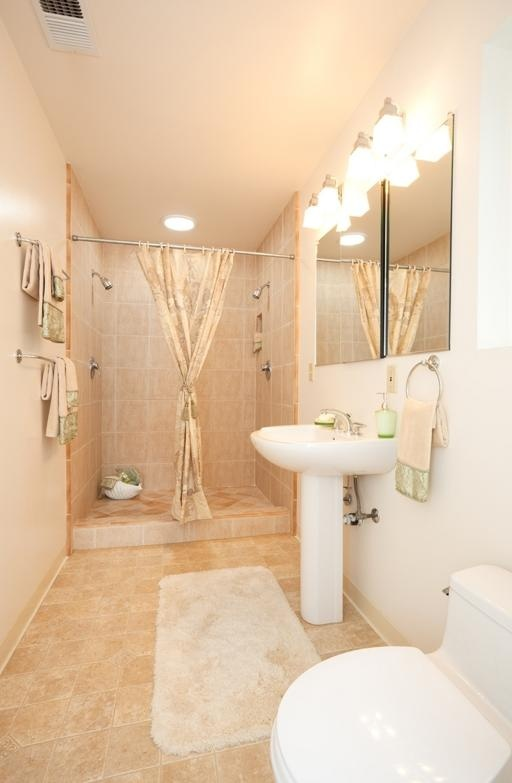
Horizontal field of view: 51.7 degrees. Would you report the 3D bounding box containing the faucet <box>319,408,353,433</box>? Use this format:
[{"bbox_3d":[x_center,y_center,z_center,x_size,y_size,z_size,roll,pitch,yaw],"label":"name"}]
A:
[{"bbox_3d":[0.337,0.124,2.198,0.056,0.106,0.234,-1,1,-14],"label":"faucet"}]

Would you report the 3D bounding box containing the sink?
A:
[{"bbox_3d":[0.224,0.233,2.049,0.446,0.179,0.629,-1,4,-16],"label":"sink"}]

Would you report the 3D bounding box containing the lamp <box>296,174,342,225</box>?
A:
[{"bbox_3d":[0.317,-0.955,2.595,0.098,0.234,0.308,-6,27,-8],"label":"lamp"}]

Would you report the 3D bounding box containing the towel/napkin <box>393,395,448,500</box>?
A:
[{"bbox_3d":[0.517,0.177,1.652,0.083,0.307,0.205,-1,4,-10],"label":"towel/napkin"}]

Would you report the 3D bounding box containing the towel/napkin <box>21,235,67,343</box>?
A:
[{"bbox_3d":[-0.852,-0.405,2.120,0.124,0.402,0.331,-1,4,-12],"label":"towel/napkin"}]

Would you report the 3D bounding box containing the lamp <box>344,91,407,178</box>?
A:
[{"bbox_3d":[0.443,-0.900,1.945,0.088,0.156,0.374,5,17,-8],"label":"lamp"}]
